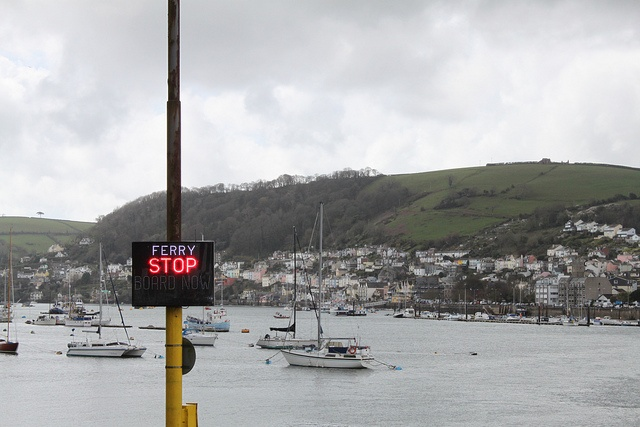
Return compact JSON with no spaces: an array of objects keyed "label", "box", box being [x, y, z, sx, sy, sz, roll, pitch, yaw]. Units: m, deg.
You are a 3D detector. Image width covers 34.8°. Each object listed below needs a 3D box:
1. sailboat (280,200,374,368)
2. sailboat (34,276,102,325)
[{"label":"sailboat","box":[0.011,13.183,158.315,13.397,22.729,5.013,0,20,16]},{"label":"sailboat","box":[-61.421,17.959,244.919,14.230,16.635,15.635,-8,-6,34]}]
